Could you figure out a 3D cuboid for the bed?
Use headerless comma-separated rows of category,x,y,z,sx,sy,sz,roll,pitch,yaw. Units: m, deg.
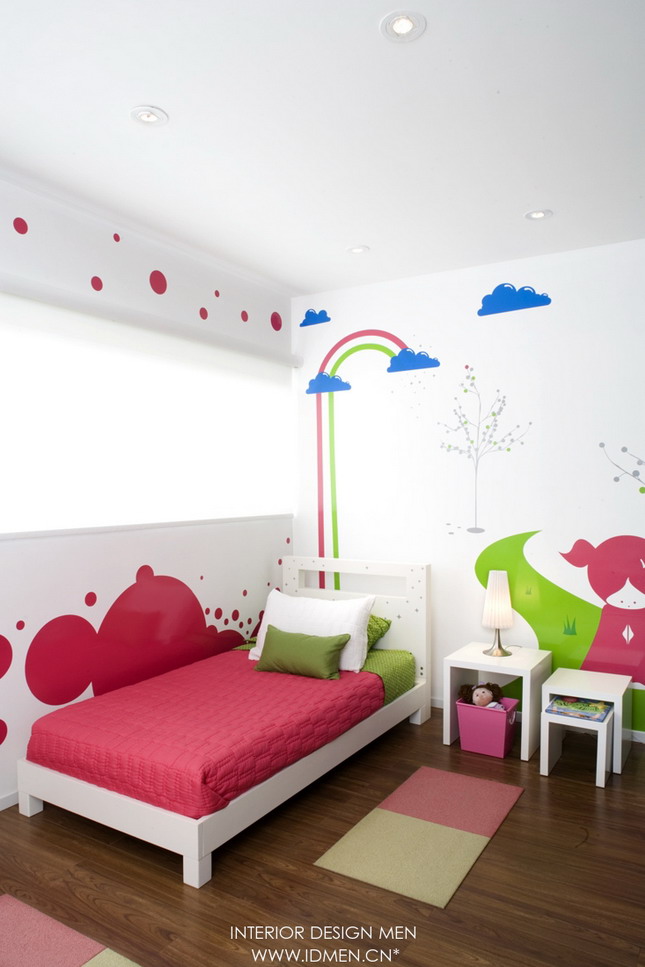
bed,-0.275,0.782,3.009,0.794,0.790,1.595,2,4,31

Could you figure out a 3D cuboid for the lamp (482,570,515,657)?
lamp,0.872,0.651,3.525,0.135,0.400,0.230,0,-1,13

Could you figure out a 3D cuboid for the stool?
stool,1.123,1.116,3.107,0.239,0.308,0.352,3,4,29

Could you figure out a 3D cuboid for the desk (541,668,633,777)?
desk,1.163,1.076,3.222,0.351,0.346,0.521,5,11,29

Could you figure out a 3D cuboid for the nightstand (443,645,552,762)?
nightstand,0.843,1.031,3.486,0.393,0.414,0.422,0,4,30

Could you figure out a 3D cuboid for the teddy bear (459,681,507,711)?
teddy bear,0.760,1.026,3.410,0.132,0.090,0.132,-5,-11,34
